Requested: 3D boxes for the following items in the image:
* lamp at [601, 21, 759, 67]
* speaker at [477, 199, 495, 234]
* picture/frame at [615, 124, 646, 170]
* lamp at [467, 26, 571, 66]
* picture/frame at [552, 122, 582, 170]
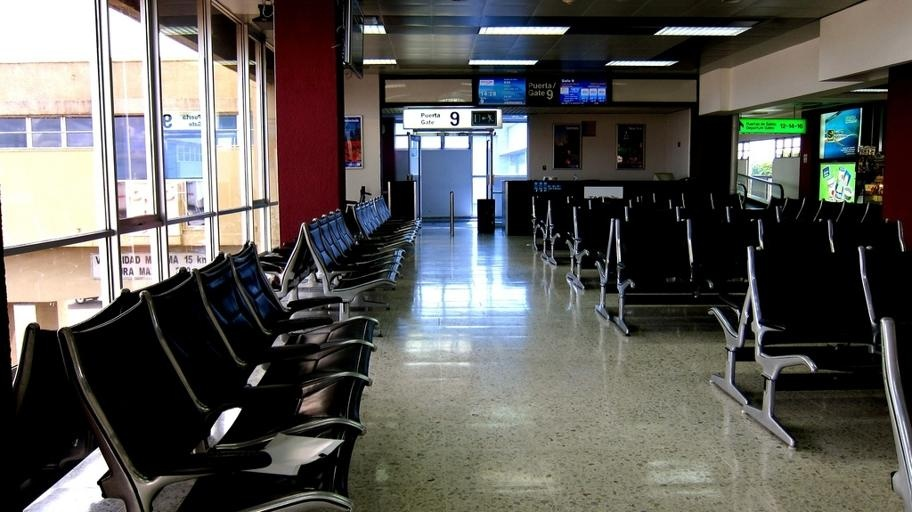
[{"bbox_3d":[4.245,-4.085,12.548,1.701,0.303,3.298,-1,10,-5],"label":"lamp"},{"bbox_3d":[0.727,-0.987,15.301,0.381,0.755,0.326,-1,12,-2],"label":"speaker"},{"bbox_3d":[4.466,-2.787,16.198,0.721,1.118,0.178,-1,13,-2],"label":"picture/frame"},{"bbox_3d":[1.134,-4.033,12.296,1.566,0.287,2.952,0,10,-2],"label":"lamp"},{"bbox_3d":[2.845,-2.785,16.192,0.669,1.118,0.246,-1,13,-5],"label":"picture/frame"}]
